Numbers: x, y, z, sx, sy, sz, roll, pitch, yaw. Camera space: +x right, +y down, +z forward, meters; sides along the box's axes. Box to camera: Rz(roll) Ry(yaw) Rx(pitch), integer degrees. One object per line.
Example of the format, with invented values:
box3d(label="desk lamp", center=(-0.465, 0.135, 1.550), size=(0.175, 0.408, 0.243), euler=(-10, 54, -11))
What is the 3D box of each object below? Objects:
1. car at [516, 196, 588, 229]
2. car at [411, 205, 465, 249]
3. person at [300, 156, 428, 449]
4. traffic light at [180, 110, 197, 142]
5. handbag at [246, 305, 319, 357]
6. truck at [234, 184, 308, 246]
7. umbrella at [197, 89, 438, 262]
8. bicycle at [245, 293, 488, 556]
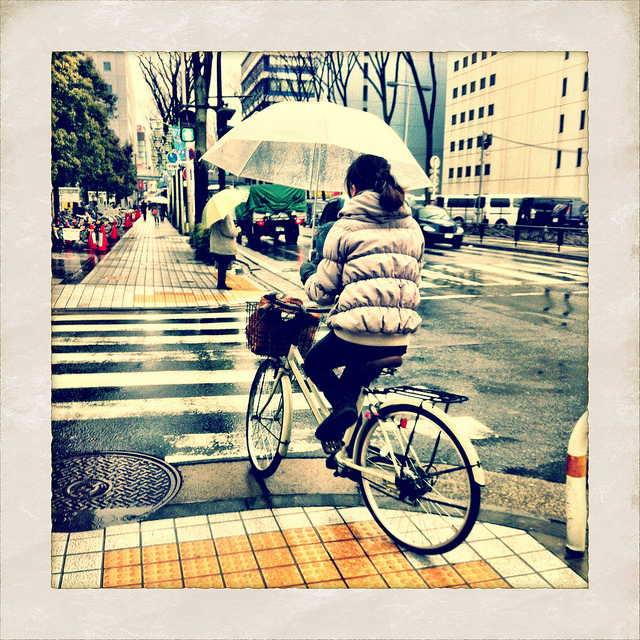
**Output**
box3d(label="car", center=(11.157, -5.211, 35.873), size=(2.439, 1.332, 6.331), euler=(0, 12, -5))
box3d(label="car", center=(4.251, -3.505, 28.225), size=(1.546, 1.650, 3.058), euler=(-3, 9, -13))
box3d(label="person", center=(0.248, -0.104, 4.329), size=(0.675, 1.666, 0.399), euler=(2, 10, 6))
box3d(label="traffic light", center=(-3.926, -5.825, 22.299), size=(0.413, 0.933, 0.624), euler=(-1, 11, -13))
box3d(label="handbag", center=(-0.265, 0.058, 4.970), size=(0.490, 0.389, 0.295), euler=(1, 3, -13))
box3d(label="truck", center=(-1.586, -3.579, 27.970), size=(2.332, 2.299, 3.860), euler=(-4, 26, -13))
box3d(label="umbrella", center=(0.001, -1.093, 5.196), size=(1.203, 0.777, 1.188), euler=(-29, 30, -31))
box3d(label="bicycle", center=(0.103, 0.559, 4.689), size=(0.559, 1.338, 2.074), euler=(-7, 14, -44))
